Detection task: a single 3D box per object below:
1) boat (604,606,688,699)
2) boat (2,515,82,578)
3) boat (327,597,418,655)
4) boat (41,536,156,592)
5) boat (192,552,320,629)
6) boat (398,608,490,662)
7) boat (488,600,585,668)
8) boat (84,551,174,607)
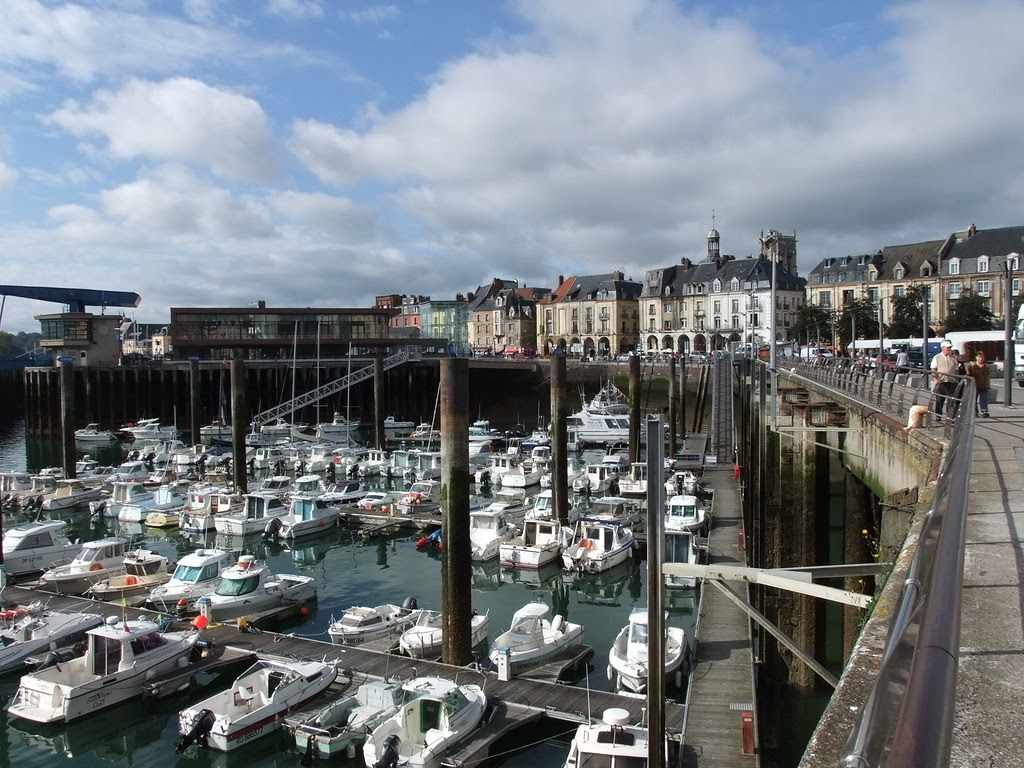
[{"bbox_3d":[3.503,7.179,23.142,1.971,1.867,3.730,-3,-8,15],"label":"boat"},{"bbox_3d":[-17.577,6.113,32.968,1.555,1.174,2.704,2,4,21],"label":"boat"},{"bbox_3d":[-3.967,7.131,25.853,1.208,0.844,2.166,-2,-4,28],"label":"boat"},{"bbox_3d":[-14.614,6.286,31.703,1.273,1.881,4.309,3,8,19],"label":"boat"},{"bbox_3d":[-8.025,6.798,28.204,1.944,1.306,2.801,4,5,35],"label":"boat"},{"bbox_3d":[-2.107,7.108,24.931,1.211,1.035,2.432,2,2,22],"label":"boat"},{"bbox_3d":[0.552,7.044,24.220,1.578,1.361,3.354,-5,-2,32],"label":"boat"},{"bbox_3d":[-12.828,6.691,29.703,1.125,1.463,2.921,7,9,21],"label":"boat"}]
